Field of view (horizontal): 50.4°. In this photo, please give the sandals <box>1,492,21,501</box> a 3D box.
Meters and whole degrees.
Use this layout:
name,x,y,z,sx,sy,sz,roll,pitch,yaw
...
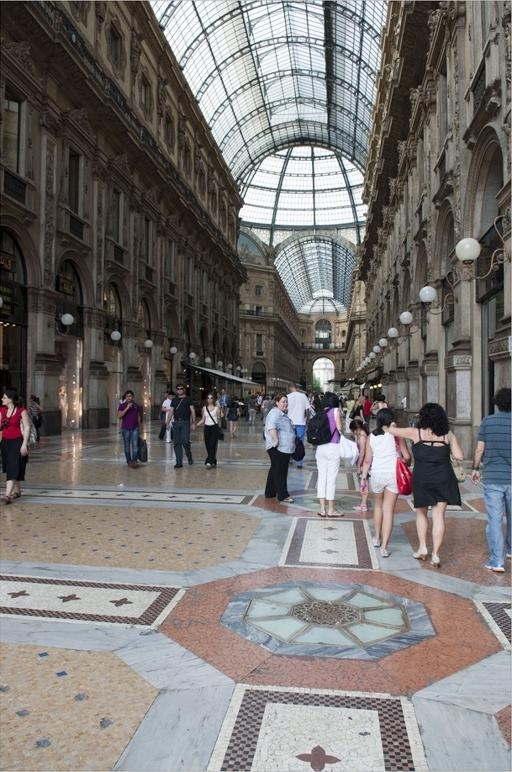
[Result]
name,x,y,z,sx,sy,sz,roll,pitch,yaw
sandals,-3.397,1.542,7.523,0.099,0.102,0.312,-1,-7,-2

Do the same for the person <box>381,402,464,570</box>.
name,x,y,z,sx,sy,sz,roll,pitch,yaw
person,1.602,0.874,5.059,0.580,1.425,0.846,0,-2,21

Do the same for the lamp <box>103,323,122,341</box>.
name,x,y,z,sx,sy,sz,roll,pitch,yaw
lamp,-6.339,-2.492,24.097,0.734,1.075,3.119,1,-2,-14

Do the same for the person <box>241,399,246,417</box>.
name,x,y,z,sx,sy,sz,roll,pitch,yaw
person,-1.088,2.067,46.532,0.644,1.084,0.336,-3,8,-45

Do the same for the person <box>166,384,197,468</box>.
name,x,y,z,sx,sy,sz,roll,pitch,yaw
person,-1.627,0.836,11.640,0.523,1.833,0.532,0,-7,-24

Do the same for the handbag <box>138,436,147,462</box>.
name,x,y,z,sx,sy,sz,roll,pitch,yaw
handbag,-2.383,1.352,11.369,0.148,0.461,0.252,1,-2,-13

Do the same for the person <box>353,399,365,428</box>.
name,x,y,z,sx,sy,sz,roll,pitch,yaw
person,2.866,0.728,15.102,0.279,0.870,0.377,-13,17,-39

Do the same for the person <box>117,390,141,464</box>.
name,x,y,z,sx,sy,sz,roll,pitch,yaw
person,-2.744,0.934,11.835,0.429,1.620,1.277,1,-2,-12

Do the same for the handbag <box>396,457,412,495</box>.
name,x,y,z,sx,sy,sz,roll,pitch,yaw
handbag,1.429,0.880,5.256,0.100,0.347,0.307,-7,-13,12

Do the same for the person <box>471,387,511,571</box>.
name,x,y,z,sx,sy,sz,roll,pitch,yaw
person,2.107,0.817,4.833,0.314,1.567,0.735,0,-2,23

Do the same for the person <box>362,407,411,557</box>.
name,x,y,z,sx,sy,sz,roll,pitch,yaw
person,1.306,0.939,5.529,0.415,1.489,0.443,1,4,20

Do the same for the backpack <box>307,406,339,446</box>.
name,x,y,z,sx,sy,sz,roll,pitch,yaw
backpack,0.834,0.529,6.787,0.438,0.550,0.314,12,-17,-38

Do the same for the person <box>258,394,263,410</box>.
name,x,y,z,sx,sy,sz,roll,pitch,yaw
person,0.299,1.169,37.746,0.506,0.853,0.791,2,39,2

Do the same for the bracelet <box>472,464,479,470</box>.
name,x,y,z,sx,sy,sz,roll,pitch,yaw
bracelet,2.027,0.757,4.992,0.051,0.067,0.057,5,-3,-16

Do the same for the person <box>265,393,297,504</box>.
name,x,y,z,sx,sy,sz,roll,pitch,yaw
person,0.351,0.910,7.993,0.428,1.557,0.581,1,-2,1

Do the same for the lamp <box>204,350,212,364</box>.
name,x,y,z,sx,sy,sz,roll,pitch,yaw
lamp,-3.777,-2.090,42.795,0.503,0.750,0.571,0,-1,0
